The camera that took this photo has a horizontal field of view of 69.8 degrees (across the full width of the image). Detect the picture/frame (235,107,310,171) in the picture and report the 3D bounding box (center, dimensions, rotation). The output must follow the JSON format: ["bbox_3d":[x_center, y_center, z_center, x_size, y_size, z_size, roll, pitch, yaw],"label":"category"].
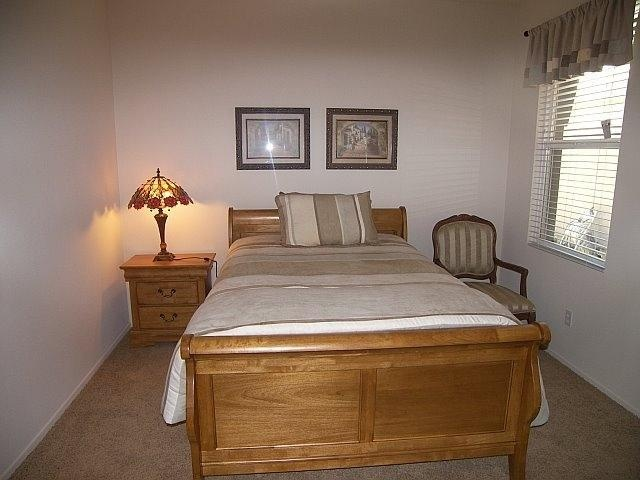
[{"bbox_3d":[-0.465,-0.968,4.283,0.571,0.487,0.054,-1,9,-8],"label":"picture/frame"}]

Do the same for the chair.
[{"bbox_3d":[1.364,0.384,3.868,0.717,1.103,0.818,-2,12,10],"label":"chair"}]

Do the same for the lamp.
[{"bbox_3d":[-1.388,-0.179,4.020,0.796,0.928,0.852,1,11,3],"label":"lamp"}]

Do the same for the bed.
[{"bbox_3d":[0.246,0.650,2.863,1.478,1.062,1.685,-1,9,-5],"label":"bed"}]

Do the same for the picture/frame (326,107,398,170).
[{"bbox_3d":[0.382,-0.991,4.371,0.576,0.496,0.060,0,8,-5],"label":"picture/frame"}]

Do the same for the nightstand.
[{"bbox_3d":[-1.234,0.404,4.269,1.013,1.013,0.687,-1,7,-7],"label":"nightstand"}]
